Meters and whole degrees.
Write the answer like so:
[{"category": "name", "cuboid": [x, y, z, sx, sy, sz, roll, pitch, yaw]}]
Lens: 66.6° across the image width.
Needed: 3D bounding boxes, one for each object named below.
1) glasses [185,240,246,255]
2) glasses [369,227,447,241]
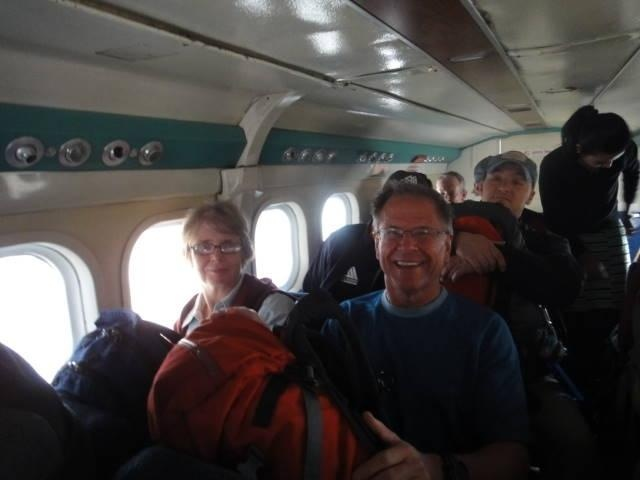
[{"category": "glasses", "cuboid": [-0.761, 0.060, 3.543, 0.366, 0.087, 0.137, -2, 1, -7]}, {"category": "glasses", "cuboid": [0.530, -0.038, 2.784, 0.375, 0.071, 0.134, -2, 1, 13]}]
